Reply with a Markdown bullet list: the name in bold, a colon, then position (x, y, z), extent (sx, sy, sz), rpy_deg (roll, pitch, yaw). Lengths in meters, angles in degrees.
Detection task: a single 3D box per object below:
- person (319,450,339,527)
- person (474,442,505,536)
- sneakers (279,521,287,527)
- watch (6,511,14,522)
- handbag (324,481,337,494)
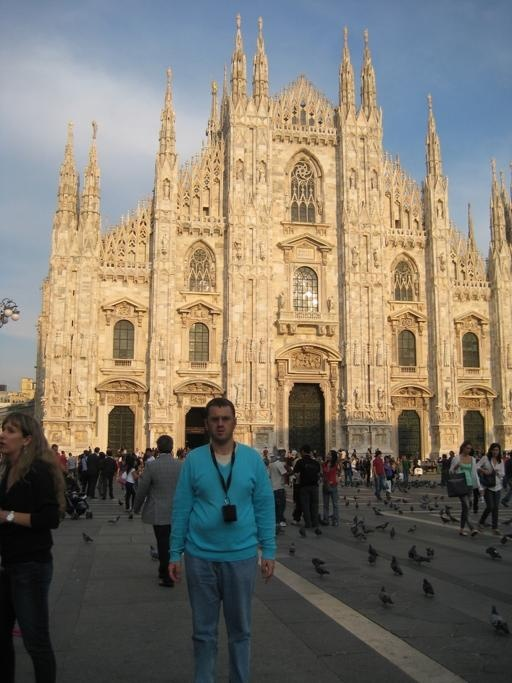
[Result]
- **person**: position (1.441, 2.867, 13.689), extent (0.303, 1.418, 0.622), rpy_deg (-1, -8, 5)
- **person**: position (3.962, 2.487, 11.762), extent (0.430, 1.501, 0.605), rpy_deg (-3, -8, 17)
- **sneakers**: position (0.490, 3.350, 12.772), extent (0.079, 0.074, 0.167), rpy_deg (0, -20, -4)
- **watch**: position (-1.251, 0.890, 3.532), extent (0.033, 0.052, 0.051), rpy_deg (1, -8, -29)
- **handbag**: position (1.447, 2.862, 13.669), extent (0.300, 0.271, 0.181), rpy_deg (3, -2, 0)
